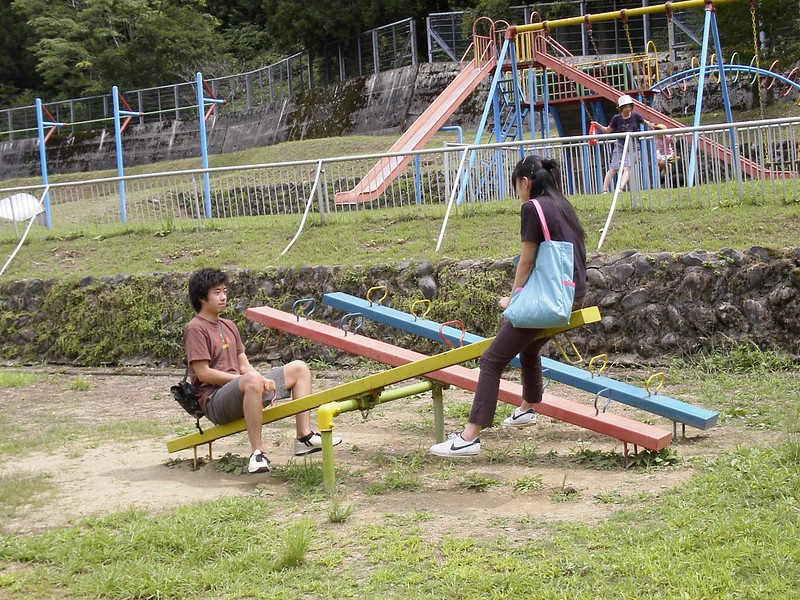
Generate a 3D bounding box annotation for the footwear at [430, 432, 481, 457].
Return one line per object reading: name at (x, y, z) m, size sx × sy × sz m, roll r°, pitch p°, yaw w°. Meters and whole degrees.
footwear at (0.637, 1.730, 14.279) m, size 0.617 × 0.273 × 0.241 m, roll 1°, pitch -15°, yaw 2°

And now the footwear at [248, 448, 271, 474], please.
footwear at (-1.743, 1.960, 14.551) m, size 0.277 × 0.299 × 0.353 m, roll -2°, pitch 7°, yaw -8°

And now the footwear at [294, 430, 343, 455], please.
footwear at (-1.027, 1.715, 14.749) m, size 0.646 × 0.283 × 0.239 m, roll -15°, pitch 4°, yaw 2°

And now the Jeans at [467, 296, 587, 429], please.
Jeans at (1.368, 0.848, 14.384) m, size 0.670 × 1.237 × 1.123 m, roll 4°, pitch 8°, yaw 36°

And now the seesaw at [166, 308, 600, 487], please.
seesaw at (0.422, 1.071, 15.357) m, size 5.390 × 2.095 × 3.672 m, roll 14°, pitch 15°, yaw 43°
